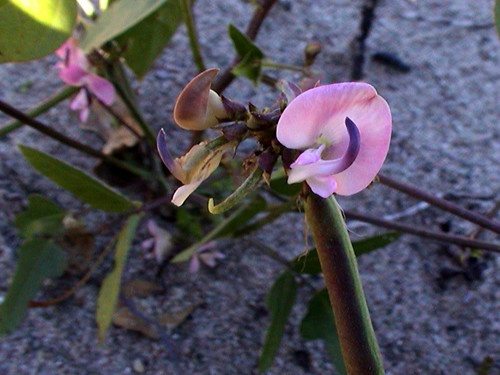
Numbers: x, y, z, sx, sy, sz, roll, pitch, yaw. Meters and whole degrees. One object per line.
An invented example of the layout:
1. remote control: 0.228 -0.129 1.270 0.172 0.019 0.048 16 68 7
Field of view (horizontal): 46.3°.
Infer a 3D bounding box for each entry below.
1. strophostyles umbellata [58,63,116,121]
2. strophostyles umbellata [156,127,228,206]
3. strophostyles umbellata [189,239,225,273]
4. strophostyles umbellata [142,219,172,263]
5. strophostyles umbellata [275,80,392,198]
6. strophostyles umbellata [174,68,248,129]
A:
1. strophostyles umbellata: -0.226 -0.135 0.815 0.047 0.069 0.018 -33 62 -29
2. strophostyles umbellata: -0.074 -0.037 0.654 0.062 0.038 0.091 38 73 11
3. strophostyles umbellata: -0.085 0.124 1.097 0.057 0.018 0.057 -15 92 9
4. strophostyles umbellata: -0.170 0.099 1.078 0.057 0.021 0.070 -1 80 -36
5. strophostyles umbellata: 0.092 -0.050 0.631 0.121 0.069 0.107 -11 71 -5
6. strophostyles umbellata: -0.039 -0.104 0.663 0.049 0.076 0.069 -5 87 -23
